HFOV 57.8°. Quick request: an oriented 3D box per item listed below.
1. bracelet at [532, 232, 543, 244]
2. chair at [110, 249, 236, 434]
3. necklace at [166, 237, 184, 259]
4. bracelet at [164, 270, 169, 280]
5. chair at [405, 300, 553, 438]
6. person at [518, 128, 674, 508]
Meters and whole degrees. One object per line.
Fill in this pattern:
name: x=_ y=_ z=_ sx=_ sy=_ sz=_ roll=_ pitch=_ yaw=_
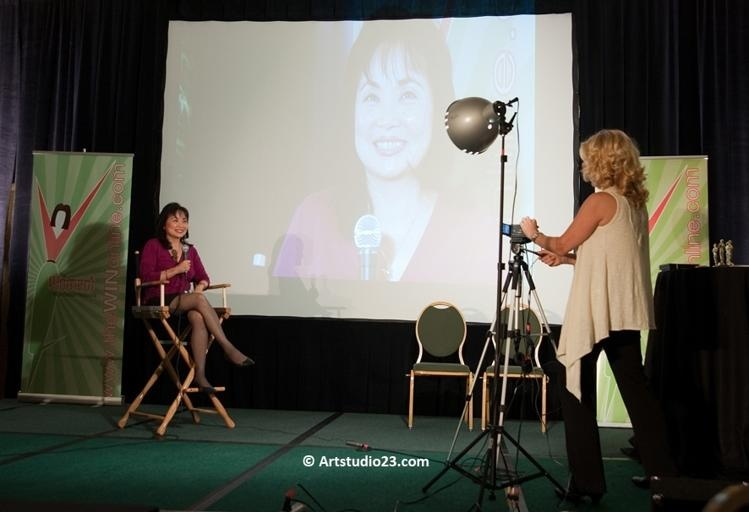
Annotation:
bracelet: x=1.188 y=-0.118 z=4.955 sx=0.051 sy=0.091 sz=0.075 roll=18 pitch=-7 yaw=36
chair: x=-1.920 y=0.927 z=6.626 sx=0.931 sy=1.510 sz=0.888 roll=1 pitch=-7 yaw=-18
necklace: x=-1.970 y=-0.075 z=6.660 sx=0.169 sy=0.283 sz=0.084 roll=-7 pitch=-3 yaw=-1
bracelet: x=-1.960 y=0.183 z=6.340 sx=0.068 sy=0.087 sz=0.072 roll=-2 pitch=5 yaw=-35
chair: x=1.035 y=1.148 z=6.587 sx=1.044 sy=1.188 sz=0.520 roll=0 pitch=-13 yaw=4
person: x=1.704 y=0.443 z=4.921 sx=0.867 sy=2.661 sz=0.376 roll=2 pitch=4 yaw=24
